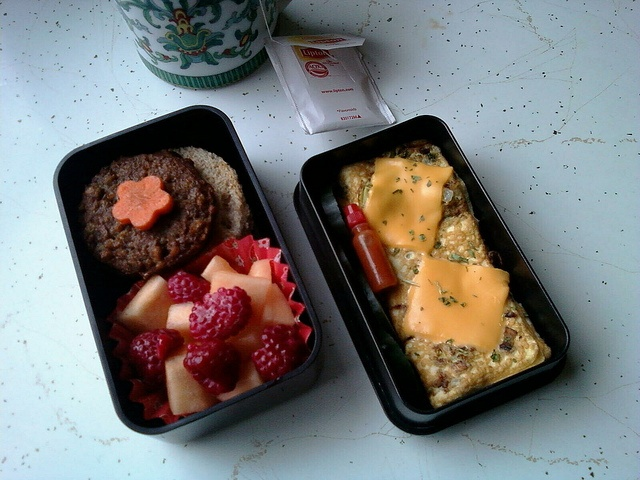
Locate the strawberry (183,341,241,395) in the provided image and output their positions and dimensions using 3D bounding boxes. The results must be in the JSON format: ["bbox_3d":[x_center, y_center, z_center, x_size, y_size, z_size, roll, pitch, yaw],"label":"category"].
[{"bbox_3d":[-0.308,0.359,1.834,0.137,0.152,0.085,18,57,23],"label":"strawberry"}]

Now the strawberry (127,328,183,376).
[{"bbox_3d":[-0.486,0.338,1.897,0.148,0.056,0.130,-17,78,-3],"label":"strawberry"}]

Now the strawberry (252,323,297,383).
[{"bbox_3d":[-0.125,0.323,1.841,0.114,0.071,0.167,12,63,19],"label":"strawberry"}]

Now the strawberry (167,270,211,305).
[{"bbox_3d":[-0.404,0.162,1.958,0.082,0.107,0.086,14,64,-33],"label":"strawberry"}]

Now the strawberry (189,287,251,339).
[{"bbox_3d":[-0.285,0.228,1.863,0.166,0.063,0.134,-43,57,-6],"label":"strawberry"}]

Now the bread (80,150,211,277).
[{"bbox_3d":[-0.561,-0.083,2.053,0.442,0.134,0.403,0,77,1],"label":"bread"}]
